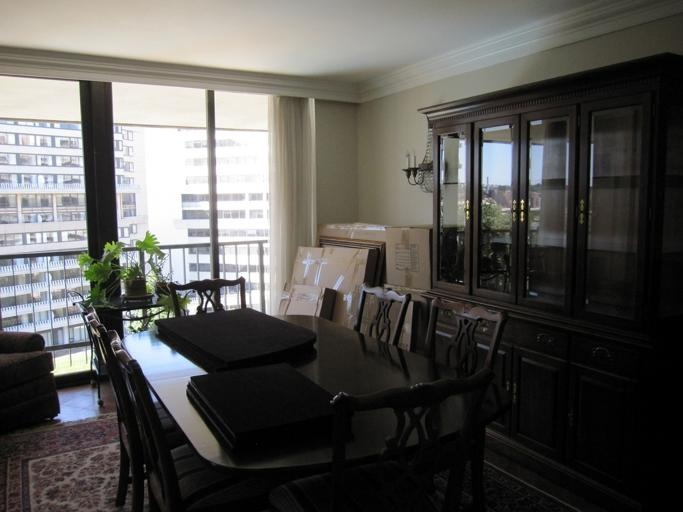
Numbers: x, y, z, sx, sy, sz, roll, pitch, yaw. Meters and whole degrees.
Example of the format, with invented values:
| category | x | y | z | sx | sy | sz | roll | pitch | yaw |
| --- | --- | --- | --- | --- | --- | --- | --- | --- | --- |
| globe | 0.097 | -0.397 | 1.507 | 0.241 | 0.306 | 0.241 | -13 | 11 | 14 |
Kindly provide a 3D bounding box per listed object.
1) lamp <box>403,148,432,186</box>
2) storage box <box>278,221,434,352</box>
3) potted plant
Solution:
| category | x | y | z | sx | sy | sz | roll | pitch | yaw |
| --- | --- | --- | --- | --- | --- | --- | --- | --- | --- |
| lamp | 0.738 | -0.859 | 4.837 | 0.236 | 0.412 | 0.392 | 1 | 1 | -19 |
| storage box | 0.165 | 0.250 | 4.222 | 0.969 | 0.962 | 0.319 | 8 | -7 | 35 |
| potted plant | -1.917 | 0.200 | 4.482 | 0.760 | 0.557 | 0.769 | -3 | 4 | 6 |
